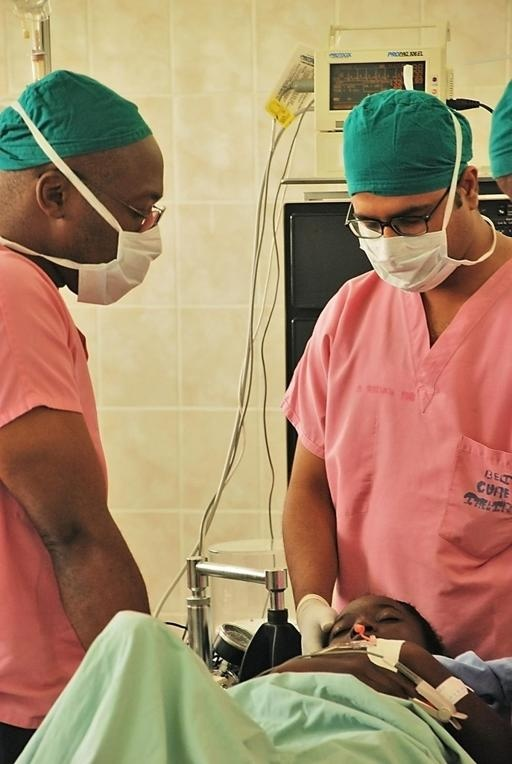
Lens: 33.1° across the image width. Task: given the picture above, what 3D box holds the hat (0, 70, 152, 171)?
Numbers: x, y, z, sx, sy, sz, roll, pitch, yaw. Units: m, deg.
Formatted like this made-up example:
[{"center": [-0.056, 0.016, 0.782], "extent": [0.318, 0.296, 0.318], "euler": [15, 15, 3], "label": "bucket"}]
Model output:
[{"center": [-0.258, -0.382, 1.302], "extent": [0.194, 0.191, 0.083], "euler": [-13, 108, -18], "label": "hat"}]

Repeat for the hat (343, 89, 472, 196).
[{"center": [0.294, -0.447, 1.596], "extent": [0.227, 0.278, 0.189], "euler": [1, 98, 30], "label": "hat"}]

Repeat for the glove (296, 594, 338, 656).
[{"center": [0.103, 0.407, 1.463], "extent": [0.058, 0.043, 0.101], "euler": [-1, 57, 16], "label": "glove"}]

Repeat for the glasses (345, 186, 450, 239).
[{"center": [0.264, -0.315, 1.582], "extent": [0.184, 0.049, 0.176], "euler": [-6, 32, 15], "label": "glasses"}]

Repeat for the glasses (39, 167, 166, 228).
[{"center": [-0.209, -0.281, 1.291], "extent": [0.103, 0.079, 0.028], "euler": [43, 82, -15], "label": "glasses"}]
